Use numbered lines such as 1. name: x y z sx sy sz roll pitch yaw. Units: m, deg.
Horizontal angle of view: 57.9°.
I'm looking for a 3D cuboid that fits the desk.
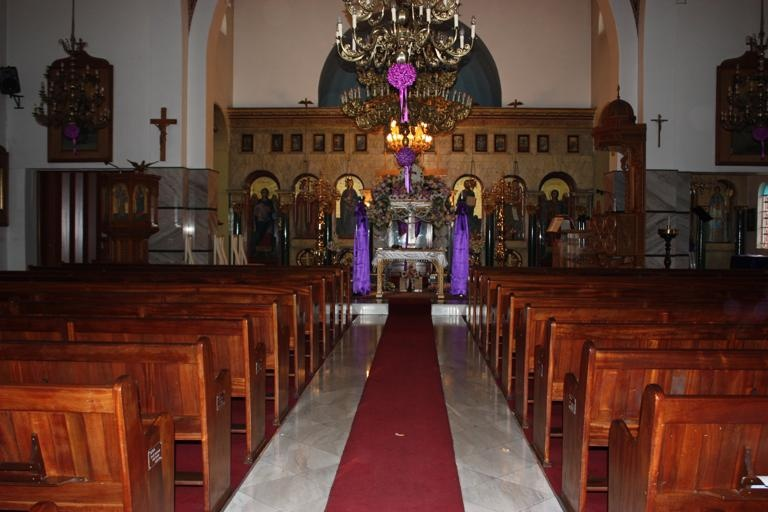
1. desk: 0.589 0.622 14.739 1.381 1.004 1.082 0 -7 3
